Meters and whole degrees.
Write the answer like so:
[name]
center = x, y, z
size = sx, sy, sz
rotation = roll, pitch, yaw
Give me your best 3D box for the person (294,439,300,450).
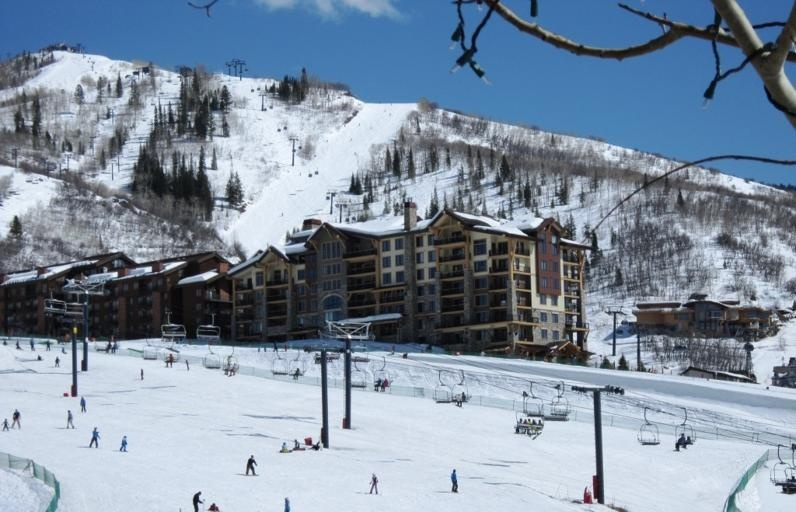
[person]
center = -18.485, 34.595, 274.390
size = 1.165, 2.285, 1.206
rotation = -5, -6, 37
